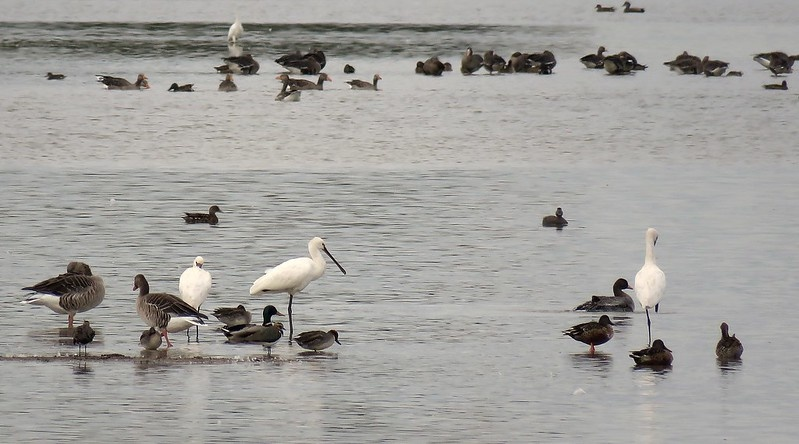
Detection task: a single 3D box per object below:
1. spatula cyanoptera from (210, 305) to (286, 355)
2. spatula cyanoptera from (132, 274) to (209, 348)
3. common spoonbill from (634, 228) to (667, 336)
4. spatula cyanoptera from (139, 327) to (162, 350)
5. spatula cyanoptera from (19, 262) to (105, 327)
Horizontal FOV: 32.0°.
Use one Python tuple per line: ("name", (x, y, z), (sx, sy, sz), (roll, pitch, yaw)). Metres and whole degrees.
("spatula cyanoptera", (-4.101, 2.990, 39.137), (2.383, 1.026, 1.044), (-6, 4, -3))
("spatula cyanoptera", (-6.336, 2.436, 38.688), (3.458, 1.615, 1.235), (7, 10, 41))
("common spoonbill", (7.177, 1.925, 40.008), (1.365, 3.102, 1.951), (1, 10, 19))
("spatula cyanoptera", (-6.873, 3.277, 38.379), (0.596, 0.828, 0.559), (8, 52, -8))
("spatula cyanoptera", (-9.725, 1.959, 39.573), (1.622, 1.452, 2.630), (3, 3, 39))
